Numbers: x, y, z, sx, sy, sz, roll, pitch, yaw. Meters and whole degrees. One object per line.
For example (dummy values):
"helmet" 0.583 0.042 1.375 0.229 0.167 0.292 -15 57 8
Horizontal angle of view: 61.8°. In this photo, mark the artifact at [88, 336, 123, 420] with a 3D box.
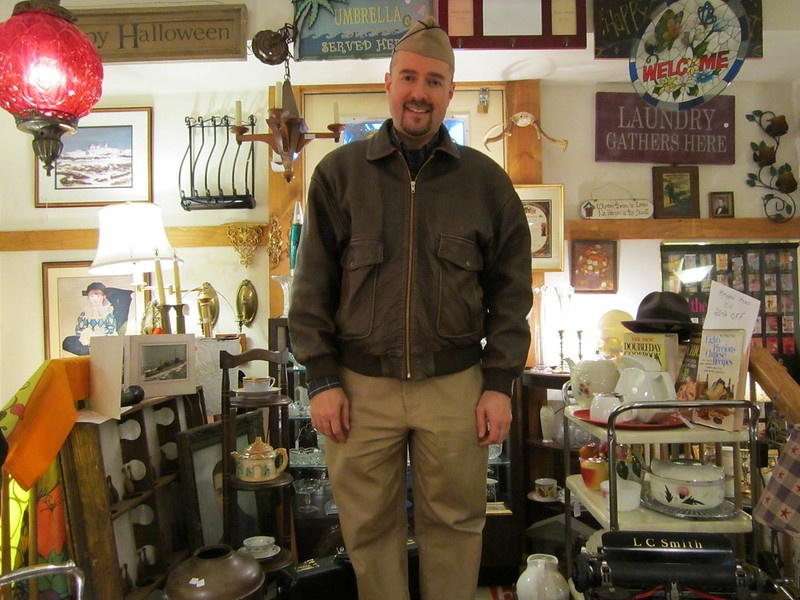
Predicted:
"artifact" -1.276 0.335 2.930 0.211 0.347 0.114 1 3 44

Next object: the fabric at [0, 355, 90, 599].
"fabric" -1.415 0.626 2.748 0.222 0.759 0.466 -1 2 12

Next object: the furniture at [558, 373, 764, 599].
"furniture" 0.929 0.792 2.512 0.736 0.862 0.823 0 2 23

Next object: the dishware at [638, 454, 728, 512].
"dishware" 1.093 0.701 2.571 0.301 0.165 0.266 2 -2 39

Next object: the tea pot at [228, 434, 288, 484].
"tea pot" -0.678 0.775 3.311 0.203 0.191 0.253 1 3 41

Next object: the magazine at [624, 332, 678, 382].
"magazine" 1.013 0.241 2.827 0.176 0.173 0.096 5 -15 2

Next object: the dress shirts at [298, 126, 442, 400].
"dress shirts" -0.137 -0.119 2.336 0.505 0.851 0.167 10 -5 -37

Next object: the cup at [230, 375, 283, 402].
"cup" -0.713 0.438 3.327 0.230 0.103 0.256 -1 3 -10

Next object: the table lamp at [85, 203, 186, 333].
"table lamp" -1.461 -0.167 3.752 0.475 0.776 0.440 -7 -1 -43

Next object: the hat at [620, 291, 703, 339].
"hat" 1.171 0.038 2.964 0.280 0.129 0.318 12 -17 -36

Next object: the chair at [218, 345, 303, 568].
"chair" -0.721 0.880 3.373 0.421 1.275 0.392 -2 -1 -17
